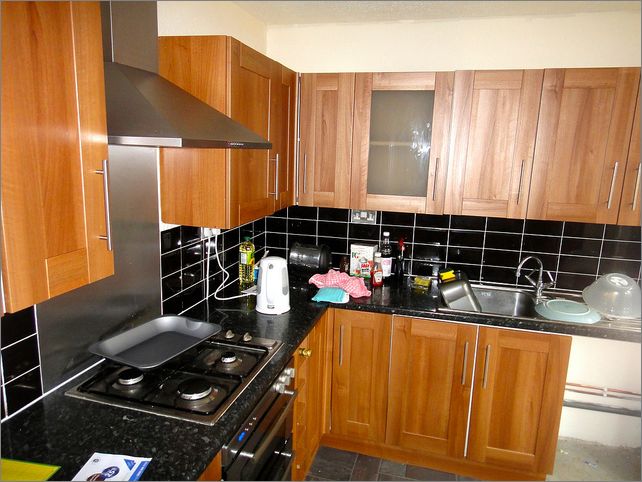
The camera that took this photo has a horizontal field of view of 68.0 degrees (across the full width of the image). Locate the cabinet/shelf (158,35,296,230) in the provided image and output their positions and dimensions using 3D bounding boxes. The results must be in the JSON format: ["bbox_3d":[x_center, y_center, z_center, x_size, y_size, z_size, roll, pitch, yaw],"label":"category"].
[{"bbox_3d":[-0.447,-0.577,2.709,0.398,0.872,1.019,5,10,13],"label":"cabinet/shelf"}]

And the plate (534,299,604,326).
[{"bbox_3d":[1.377,0.390,2.647,0.329,0.076,0.225,7,10,25],"label":"plate"}]

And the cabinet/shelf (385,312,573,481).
[{"bbox_3d":[0.896,0.855,2.696,0.974,0.819,0.366,3,6,14],"label":"cabinet/shelf"}]

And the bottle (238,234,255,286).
[{"bbox_3d":[-0.469,0.126,2.987,0.099,0.299,0.093,3,10,0],"label":"bottle"}]

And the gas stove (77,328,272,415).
[{"bbox_3d":[-0.597,0.547,2.080,0.661,0.126,0.623,6,10,16],"label":"gas stove"}]

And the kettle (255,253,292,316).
[{"bbox_3d":[-0.273,0.238,2.633,0.214,0.286,0.262,3,10,6],"label":"kettle"}]

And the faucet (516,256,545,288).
[{"bbox_3d":[1.306,0.190,2.964,0.169,0.230,0.328,7,11,24],"label":"faucet"}]

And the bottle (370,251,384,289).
[{"bbox_3d":[0.363,0.180,3.081,0.079,0.203,0.136,3,10,2],"label":"bottle"}]
